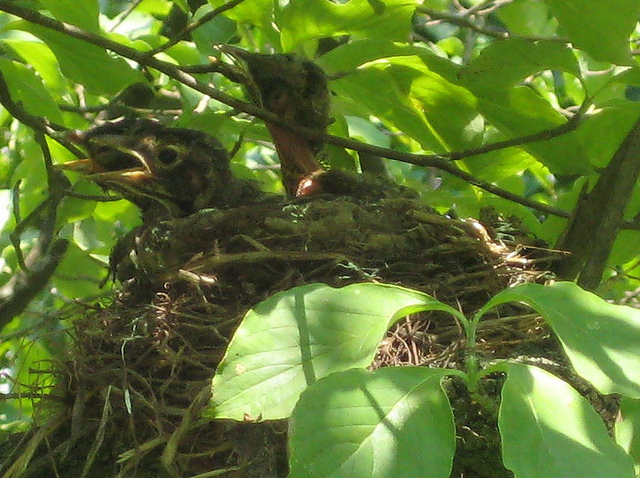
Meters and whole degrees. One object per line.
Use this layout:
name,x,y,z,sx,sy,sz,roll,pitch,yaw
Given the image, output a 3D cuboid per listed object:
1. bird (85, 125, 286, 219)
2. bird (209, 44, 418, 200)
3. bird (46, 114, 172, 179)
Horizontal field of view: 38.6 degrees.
bird,-0.248,-0.119,1.760,0.425,0.140,0.310,7,-5,-39
bird,-0.029,-0.213,1.678,0.224,0.233,0.395,-21,-51,22
bird,-0.396,-0.184,1.772,0.239,0.141,0.064,6,-73,-9
